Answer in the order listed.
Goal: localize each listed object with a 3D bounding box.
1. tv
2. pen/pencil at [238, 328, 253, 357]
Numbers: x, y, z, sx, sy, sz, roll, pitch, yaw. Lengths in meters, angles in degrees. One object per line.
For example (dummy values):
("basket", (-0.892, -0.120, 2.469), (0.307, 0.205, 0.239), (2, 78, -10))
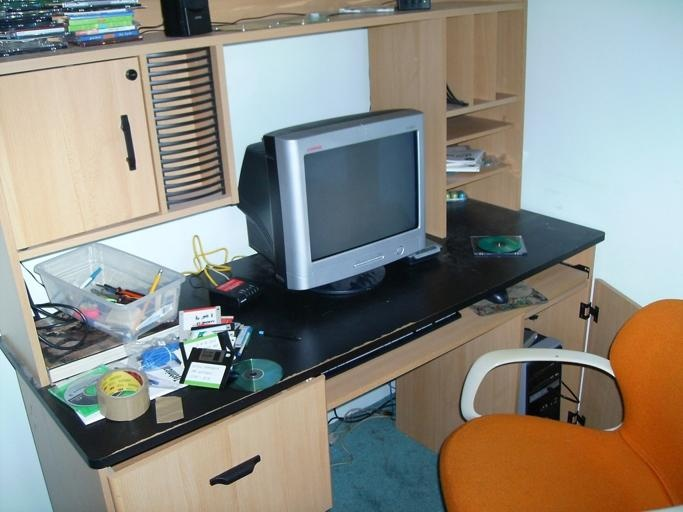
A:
("tv", (-0.037, -0.282, 2.303), (0.862, 0.679, 0.691), (-20, 33, -35))
("pen/pencil", (-0.317, 0.276, 1.840), (0.026, 0.008, 0.080), (6, 31, 3))
